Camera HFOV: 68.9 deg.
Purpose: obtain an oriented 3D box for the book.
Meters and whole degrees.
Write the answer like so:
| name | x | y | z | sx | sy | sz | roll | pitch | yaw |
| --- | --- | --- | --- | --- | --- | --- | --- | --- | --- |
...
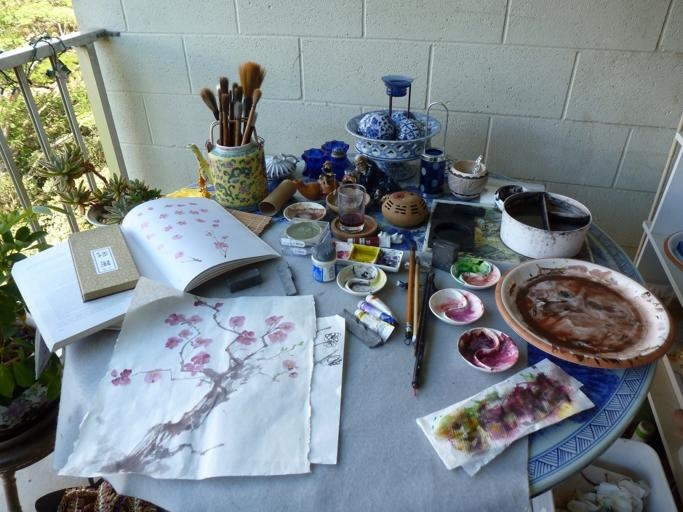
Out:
| name | x | y | z | sx | sy | sz | roll | pitch | yaw |
| --- | --- | --- | --- | --- | --- | --- | --- | --- | --- |
| book | -0.595 | 0.015 | 1.334 | 0.575 | 0.087 | 0.373 | -23 | 51 | -30 |

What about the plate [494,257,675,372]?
| name | x | y | z | sx | sy | sz | roll | pitch | yaw |
| --- | --- | --- | --- | --- | --- | --- | --- | --- | --- |
| plate | 0.560 | 0.141 | 1.193 | 0.289 | 0.126 | 0.261 | -7 | 37 | -8 |

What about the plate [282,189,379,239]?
| name | x | y | z | sx | sy | sz | roll | pitch | yaw |
| --- | --- | --- | --- | --- | --- | --- | --- | --- | --- |
| plate | -0.026 | -0.115 | 1.517 | 0.239 | 0.208 | 0.191 | 8 | 34 | 11 |

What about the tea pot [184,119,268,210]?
| name | x | y | z | sx | sy | sz | roll | pitch | yaw |
| --- | --- | --- | --- | --- | --- | --- | --- | --- | --- |
| tea pot | -0.376 | -0.283 | 1.654 | 0.209 | 0.299 | 0.246 | 4 | 31 | -8 |

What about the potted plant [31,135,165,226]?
| name | x | y | z | sx | sy | sz | roll | pitch | yaw |
| --- | --- | --- | --- | --- | --- | --- | --- | --- | --- |
| potted plant | -0.765 | -0.202 | 1.624 | 0.316 | 0.327 | 0.327 | -17 | 44 | -32 |

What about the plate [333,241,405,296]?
| name | x | y | z | sx | sy | sz | roll | pitch | yaw |
| --- | --- | --- | --- | --- | --- | --- | --- | --- | --- |
| plate | 0.064 | 0.035 | 1.353 | 0.144 | 0.033 | 0.146 | 7 | 47 | 8 |

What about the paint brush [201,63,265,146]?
| name | x | y | z | sx | sy | sz | roll | pitch | yaw |
| --- | --- | --- | --- | --- | --- | --- | --- | --- | --- |
| paint brush | -0.310 | -0.459 | 1.552 | 0.177 | 0.277 | 0.185 | -20 | 28 | -25 |

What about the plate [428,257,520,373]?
| name | x | y | z | sx | sy | sz | roll | pitch | yaw |
| --- | --- | --- | --- | --- | --- | --- | --- | --- | --- |
| plate | 0.355 | 0.136 | 1.213 | 0.210 | 0.169 | 0.193 | -14 | 36 | -30 |
